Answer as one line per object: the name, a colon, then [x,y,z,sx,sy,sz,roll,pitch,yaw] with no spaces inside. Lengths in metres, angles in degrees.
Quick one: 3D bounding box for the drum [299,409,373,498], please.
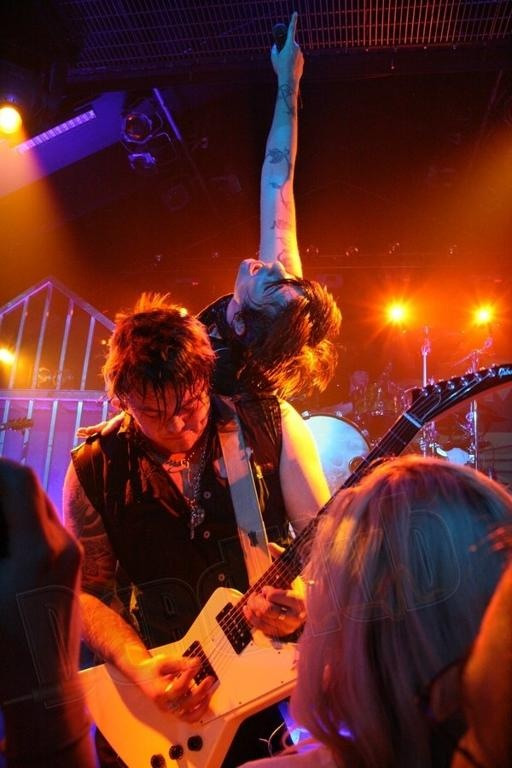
drum: [0.363,0.268,2.462,0.276,0.275,0.280,-7,-9,21]
